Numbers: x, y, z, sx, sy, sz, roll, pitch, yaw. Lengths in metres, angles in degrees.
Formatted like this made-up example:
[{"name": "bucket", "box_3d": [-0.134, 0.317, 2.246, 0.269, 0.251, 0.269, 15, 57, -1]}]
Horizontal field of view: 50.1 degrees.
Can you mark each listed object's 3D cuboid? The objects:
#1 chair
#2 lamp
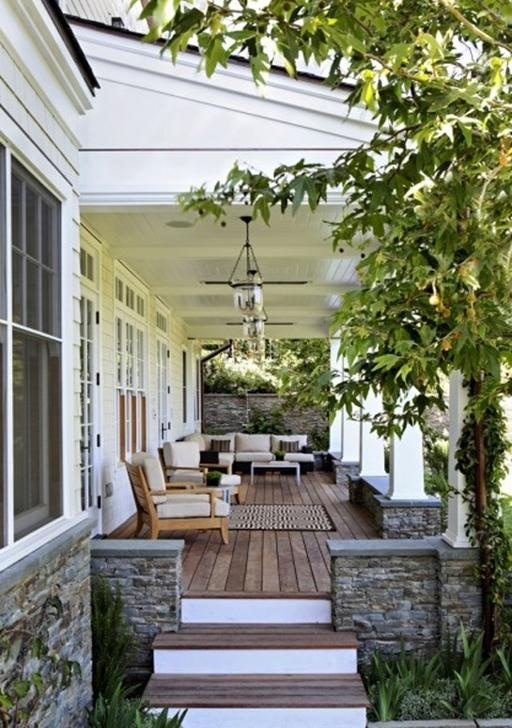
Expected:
[{"name": "chair", "box_3d": [-0.812, 1.296, 6.053, 1.105, 1.060, 1.071, 3, 0, -4]}, {"name": "lamp", "box_3d": [-0.044, -0.817, 6.195, 0.296, 1.578, 0.357, 2, 1, -36]}]
